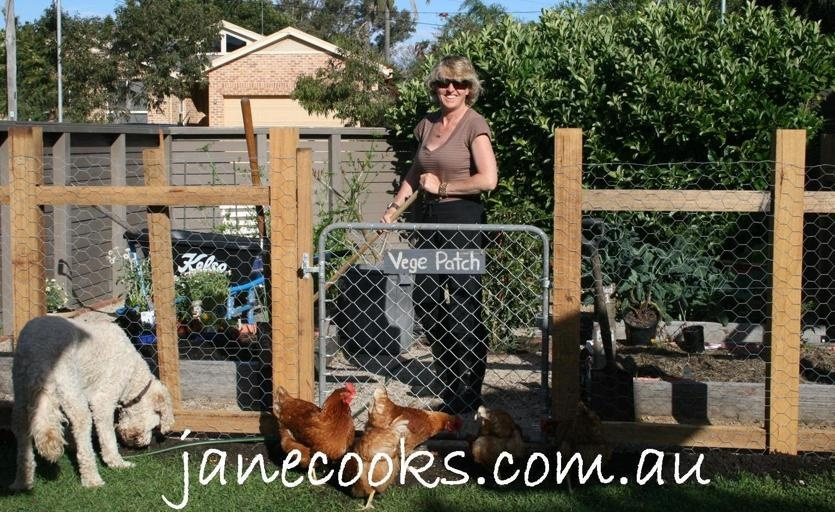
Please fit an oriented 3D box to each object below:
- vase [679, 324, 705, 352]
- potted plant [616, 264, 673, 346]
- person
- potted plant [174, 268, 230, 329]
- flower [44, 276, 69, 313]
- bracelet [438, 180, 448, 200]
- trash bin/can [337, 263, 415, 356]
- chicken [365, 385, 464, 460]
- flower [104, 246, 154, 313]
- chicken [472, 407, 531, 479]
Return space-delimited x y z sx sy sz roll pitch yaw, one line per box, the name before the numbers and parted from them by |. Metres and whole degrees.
vase | 3.302 0.984 11.346 0.275 0.313 0.282 1 2 2
potted plant | 2.827 0.610 11.743 0.482 1.042 0.559 0 1 -5
person | 0.321 -0.238 9.734 0.926 3.621 0.618 0 3 -2
potted plant | -2.572 0.487 11.320 0.595 0.672 0.359 3 -23 -15
flower | -4.731 0.496 12.382 0.239 0.420 0.351 -29 -20 33
bracelet | 0.267 -0.667 9.508 0.089 0.135 0.123 1 14 2
trash bin/can | -0.473 0.634 10.986 0.738 1.137 0.746 0 0 0
chicken | -0.001 1.534 9.021 0.867 0.779 0.624 2 3 27
flower | -3.600 0.284 12.022 0.583 0.850 0.579 -9 0 9
chicken | 0.775 1.759 9.079 0.493 0.635 0.175 1 3 5
